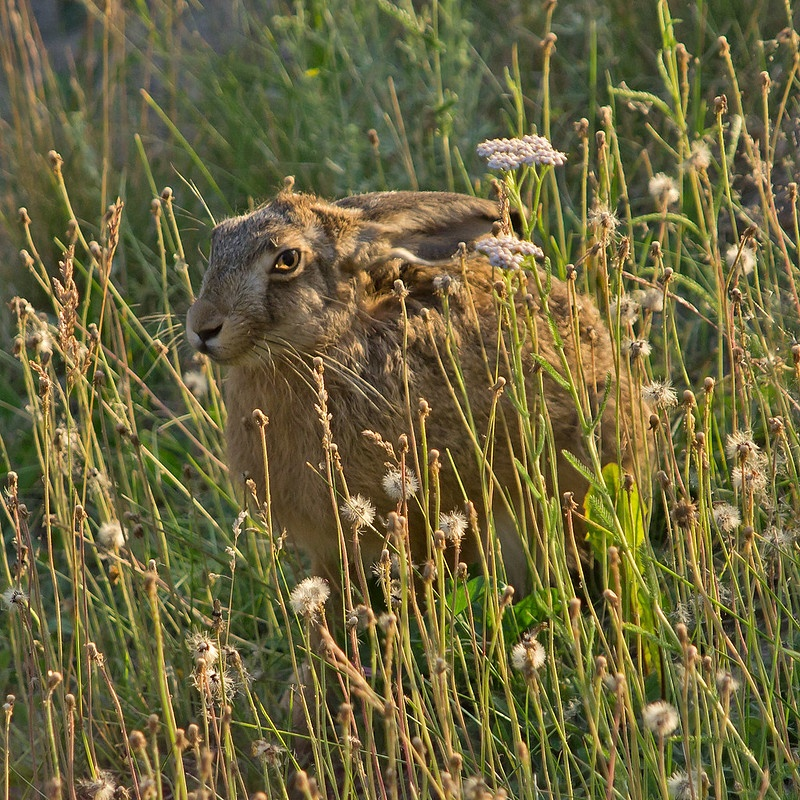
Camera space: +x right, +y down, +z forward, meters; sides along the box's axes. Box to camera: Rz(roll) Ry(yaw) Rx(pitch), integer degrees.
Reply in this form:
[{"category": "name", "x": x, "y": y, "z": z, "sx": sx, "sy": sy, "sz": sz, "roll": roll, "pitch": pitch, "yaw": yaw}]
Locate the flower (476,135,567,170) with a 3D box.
[{"category": "flower", "x": 0.251, "y": -0.508, "z": 2.313, "sx": 0.121, "sy": 0.038, "sz": 0.143, "roll": 3, "pitch": 31, "yaw": 6}]
